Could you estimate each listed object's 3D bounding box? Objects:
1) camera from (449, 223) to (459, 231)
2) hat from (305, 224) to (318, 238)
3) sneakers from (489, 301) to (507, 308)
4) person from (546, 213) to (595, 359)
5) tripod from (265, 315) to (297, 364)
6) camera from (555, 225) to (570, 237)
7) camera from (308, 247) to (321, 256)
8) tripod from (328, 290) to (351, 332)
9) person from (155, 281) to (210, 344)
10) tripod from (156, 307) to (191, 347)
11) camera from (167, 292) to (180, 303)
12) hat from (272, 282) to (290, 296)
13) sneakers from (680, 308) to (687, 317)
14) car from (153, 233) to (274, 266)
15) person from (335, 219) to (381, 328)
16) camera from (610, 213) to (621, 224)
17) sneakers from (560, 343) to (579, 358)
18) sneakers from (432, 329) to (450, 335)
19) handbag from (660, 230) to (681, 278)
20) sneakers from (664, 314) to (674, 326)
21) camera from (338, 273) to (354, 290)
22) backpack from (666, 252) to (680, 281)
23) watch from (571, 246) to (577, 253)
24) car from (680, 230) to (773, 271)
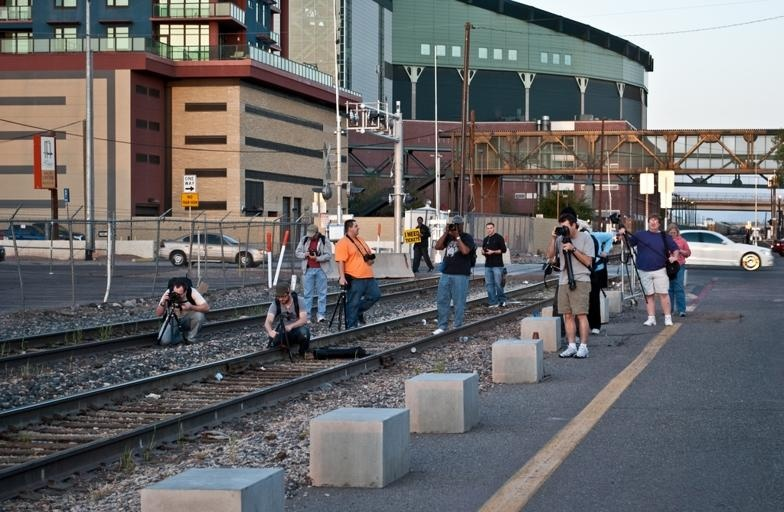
[{"bbox_3d":[1.266,-0.631,17.954,0.091,0.161,0.257,2,5,44],"label":"camera"},{"bbox_3d":[-1.780,-0.594,19.597,0.197,0.195,0.314,11,14,7],"label":"hat"},{"bbox_3d":[3.029,1.390,24.698,0.532,0.258,0.186,5,-7,-20],"label":"sneakers"},{"bbox_3d":[3.237,0.474,15.787,0.778,2.731,0.774,-1,3,7],"label":"person"},{"bbox_3d":[-2.025,1.471,16.166,0.617,0.810,0.680,-1,3,2],"label":"tripod"},{"bbox_3d":[3.039,-0.463,15.581,0.246,0.196,0.166,0,3,14],"label":"camera"},{"bbox_3d":[-1.748,-0.137,19.940,0.196,0.244,0.203,6,5,41],"label":"camera"},{"bbox_3d":[-1.197,1.294,20.253,0.389,1.206,0.502,12,20,20],"label":"tripod"},{"bbox_3d":[-4.324,1.158,18.151,0.859,1.441,0.973,3,5,7],"label":"person"},{"bbox_3d":[-4.527,1.455,18.216,0.729,1.008,0.612,-3,3,-34],"label":"tripod"},{"bbox_3d":[-4.454,0.834,17.879,0.216,0.251,0.172,-2,3,-17],"label":"camera"},{"bbox_3d":[-2.082,0.613,16.368,0.275,0.396,0.367,1,-3,0],"label":"hat"},{"bbox_3d":[7.102,1.387,21.274,0.096,0.150,0.317,-1,-6,10],"label":"sneakers"},{"bbox_3d":[-8.453,-0.310,41.204,3.520,1.440,1.581,-2,2,1],"label":"car"},{"bbox_3d":[-0.747,0.355,18.720,1.063,2.348,0.717,-4,4,-44],"label":"person"},{"bbox_3d":[4.936,-0.871,19.283,0.234,0.212,0.350,1,4,20],"label":"camera"},{"bbox_3d":[3.293,1.722,15.959,0.481,0.261,0.174,-3,1,-30],"label":"sneakers"},{"bbox_3d":[0.968,1.593,18.318,0.228,0.113,0.138,2,0,24],"label":"sneakers"},{"bbox_3d":[6.347,-0.073,19.635,0.301,1.054,0.675,1,0,-4],"label":"handbag"},{"bbox_3d":[6.181,1.430,19.444,0.123,0.179,0.383,-2,-5,10],"label":"sneakers"},{"bbox_3d":[-0.959,0.517,18.715,0.429,0.252,0.675,1,-4,4],"label":"camera"},{"bbox_3d":[6.335,0.274,19.935,0.391,0.649,0.807,8,8,20],"label":"backpack"},{"bbox_3d":[3.251,-0.130,15.543,0.087,0.068,0.092,-1,-23,-4],"label":"watch"},{"bbox_3d":[16.758,-0.391,43.894,3.689,2.016,1.568,0,3,21],"label":"car"}]
